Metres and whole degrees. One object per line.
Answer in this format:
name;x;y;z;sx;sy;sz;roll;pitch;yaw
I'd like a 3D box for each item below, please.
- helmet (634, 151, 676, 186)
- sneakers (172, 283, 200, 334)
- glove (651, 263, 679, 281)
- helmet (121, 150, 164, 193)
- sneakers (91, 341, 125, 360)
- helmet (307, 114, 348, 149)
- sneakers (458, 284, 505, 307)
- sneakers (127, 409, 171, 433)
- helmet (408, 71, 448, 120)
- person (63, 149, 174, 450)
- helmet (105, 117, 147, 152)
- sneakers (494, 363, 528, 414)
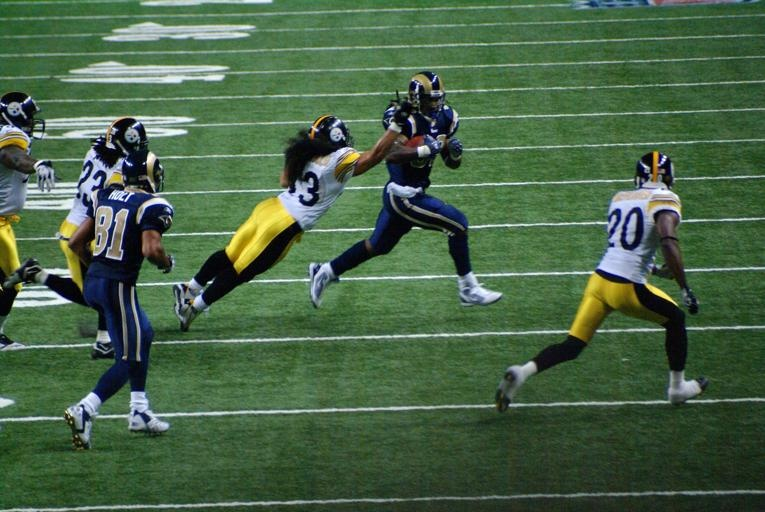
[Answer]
helmet;2.567;-0.799;12.099;0.424;0.345;0.485;2;1;21
sneakers;-1.978;0.522;12.992;0.324;0.487;0.197;-1;-4;1
glove;2.609;0.151;12.138;0.324;0.112;0.097;15;23;-14
helmet;-2.265;-0.756;11.873;0.451;0.350;0.458;2;11;-4
sneakers;-2.772;0.933;12.813;0.217;0.126;0.315;0;10;-13
helmet;-0.537;-1.256;13.015;0.480;0.296;0.343;-13;25;-41
sneakers;1.028;0.408;13.301;0.438;0.148;0.198;-3;6;16
sneakers;-2.157;1.496;11.720;0.553;0.210;0.152;3;13;-10
helmet;0.460;-1.665;13.206;0.442;0.355;0.477;-9;26;-23
person;-2.403;0.375;11.717;1.040;2.591;1.206;-3;18;-5
helmet;-2.508;-1.182;12.594;0.445;0.268;0.310;0;15;-44
sneakers;1.165;1.219;11.903;0.280;0.481;0.208;-2;18;-3
